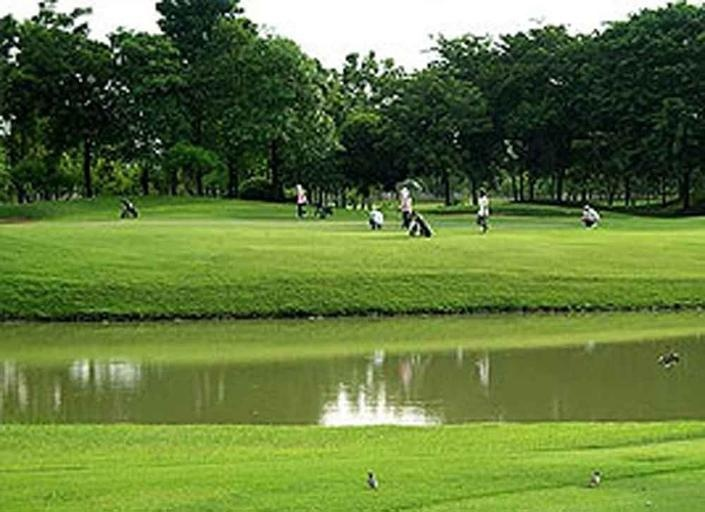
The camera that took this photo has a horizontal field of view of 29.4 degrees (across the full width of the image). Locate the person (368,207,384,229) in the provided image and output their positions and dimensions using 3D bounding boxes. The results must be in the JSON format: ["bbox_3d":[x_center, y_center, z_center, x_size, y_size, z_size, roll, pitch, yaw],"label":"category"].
[{"bbox_3d":[1.408,-1.909,72.070,0.606,1.040,1.919,-1,6,-6],"label":"person"}]

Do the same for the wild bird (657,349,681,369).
[{"bbox_3d":[11.282,3.670,47.598,0.550,0.282,0.706,-8,7,32],"label":"wild bird"}]

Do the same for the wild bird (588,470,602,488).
[{"bbox_3d":[7.410,6.704,40.774,0.193,0.446,0.759,12,18,17],"label":"wild bird"}]

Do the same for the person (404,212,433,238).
[{"bbox_3d":[3.224,-1.433,64.941,1.003,1.206,2.029,-2,2,-8],"label":"person"}]

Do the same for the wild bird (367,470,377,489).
[{"bbox_3d":[0.604,6.692,40.303,0.203,0.413,0.612,-6,-37,2],"label":"wild bird"}]
